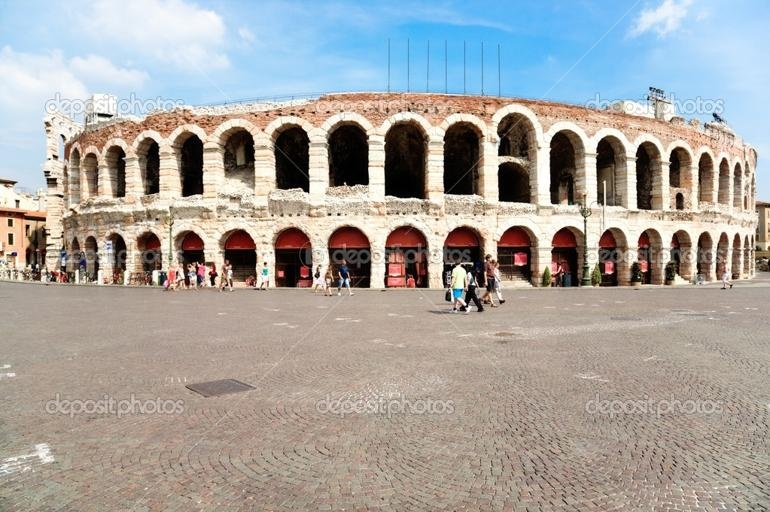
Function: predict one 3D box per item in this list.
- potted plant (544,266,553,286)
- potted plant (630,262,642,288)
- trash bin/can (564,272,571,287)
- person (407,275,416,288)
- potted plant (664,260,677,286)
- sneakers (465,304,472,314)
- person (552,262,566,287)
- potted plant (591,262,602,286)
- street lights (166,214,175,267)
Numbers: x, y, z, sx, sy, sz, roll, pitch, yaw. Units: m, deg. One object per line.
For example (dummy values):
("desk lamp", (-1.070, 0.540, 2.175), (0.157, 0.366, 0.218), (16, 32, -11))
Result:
("potted plant", (10.081, 1.214, 44.079), (0.560, 1.183, 1.021), (0, 2, 12))
("potted plant", (16.259, 1.045, 45.689), (0.576, 1.568, 1.112), (0, 2, 17))
("trash bin/can", (11.552, 1.411, 44.851), (0.453, 0.766, 0.928), (-1, 2, 9))
("person", (1.619, 1.471, 43.543), (0.509, 0.689, 0.795), (-1, 2, 2))
("potted plant", (19.228, 1.027, 47.574), (0.618, 1.526, 0.523), (0, 2, 21))
("sneakers", (3.437, 2.176, 29.341), (0.249, 0.192, 0.579), (29, 35, 2))
("person", (11.255, 1.021, 45.593), (0.767, 1.493, 1.656), (0, 2, 13))
("potted plant", (13.410, 1.104, 44.995), (0.557, 1.396, 0.953), (0, 2, 16))
("street lights", (-13.833, -1.235, 45.491), (0.373, 3.257, 0.549), (-2, 2, -21))
